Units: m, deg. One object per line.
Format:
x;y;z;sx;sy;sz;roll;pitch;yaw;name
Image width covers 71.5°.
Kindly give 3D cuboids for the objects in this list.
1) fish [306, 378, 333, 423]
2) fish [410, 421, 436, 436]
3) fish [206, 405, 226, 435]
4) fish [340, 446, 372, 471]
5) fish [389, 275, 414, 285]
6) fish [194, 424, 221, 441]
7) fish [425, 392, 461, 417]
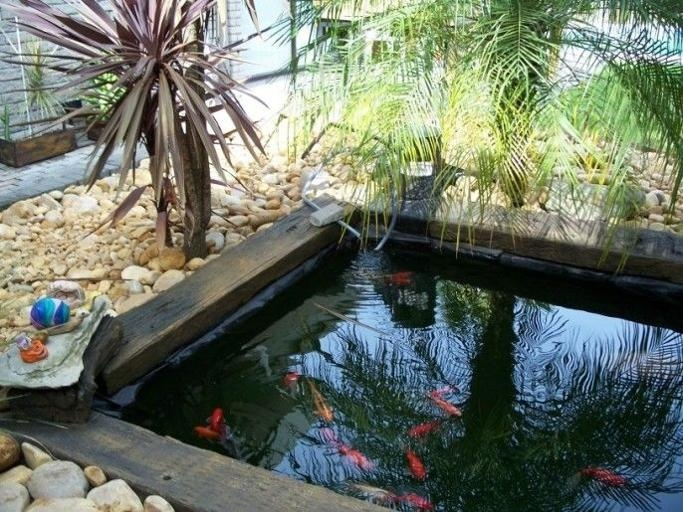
-0.100;0.633;2.146;0.051;0.060;0.221;-11;38;-15;fish
0.337;0.734;2.012;0.089;0.030;0.047;-11;29;-27;fish
-0.521;0.689;2.006;0.059;0.116;0.038;-2;-21;-14;fish
0.050;0.793;1.924;0.048;0.041;0.149;-39;38;-24;fish
0.360;0.139;2.882;0.077;0.017;0.079;11;22;30;fish
-0.556;0.714;1.964;0.091;0.040;0.053;2;16;32;fish
0.453;0.654;2.185;0.052;0.062;0.201;-33;36;-15;fish
